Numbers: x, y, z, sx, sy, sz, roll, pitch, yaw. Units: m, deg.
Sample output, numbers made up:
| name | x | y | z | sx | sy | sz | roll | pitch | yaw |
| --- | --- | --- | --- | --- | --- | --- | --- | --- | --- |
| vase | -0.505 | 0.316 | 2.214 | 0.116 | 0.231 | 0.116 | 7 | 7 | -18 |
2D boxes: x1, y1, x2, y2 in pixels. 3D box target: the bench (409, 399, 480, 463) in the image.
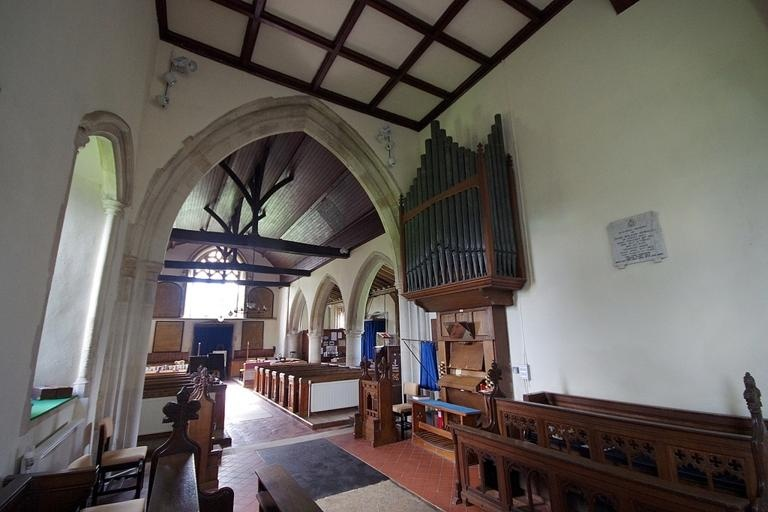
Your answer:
| name | x | y | z | sx | sy | sz | roll | pitch | yaw |
| --- | --- | --- | --- | --- | --- | --- | --- | --- | --- |
| bench | 0.792 | 2.364 | 6.291 | 0.634 | 0.645 | 1.457 | 0 | -4 | -22 |

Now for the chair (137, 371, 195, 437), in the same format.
| name | x | y | z | sx | sy | sz | roll | pitch | yaw |
| --- | --- | --- | --- | --- | --- | --- | --- | --- | --- |
| chair | -3.362 | 2.279 | 6.766 | 0.641 | 0.775 | 0.813 | -2 | -4 | -4 |

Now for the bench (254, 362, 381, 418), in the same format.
| name | x | y | z | sx | sy | sz | roll | pitch | yaw |
| --- | --- | --- | --- | --- | --- | --- | --- | --- | --- |
| bench | -1.753 | 2.807 | 9.469 | 1.232 | 0.911 | 2.932 | 0 | -4 | -33 |

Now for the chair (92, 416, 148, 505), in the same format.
| name | x | y | z | sx | sy | sz | roll | pitch | yaw |
| --- | --- | --- | --- | --- | --- | --- | --- | --- | --- |
| chair | -3.039 | 2.308 | 5.100 | 0.487 | 0.904 | 0.965 | 0 | -4 | -29 |

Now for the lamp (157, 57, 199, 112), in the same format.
| name | x | y | z | sx | sy | sz | roll | pitch | yaw |
| --- | --- | --- | --- | --- | --- | --- | --- | --- | --- |
| lamp | -2.949 | -2.455 | 6.292 | 0.469 | 0.783 | 0.354 | -8 | 7 | -19 |

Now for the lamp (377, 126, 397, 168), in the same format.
| name | x | y | z | sx | sy | sz | roll | pitch | yaw |
| --- | --- | --- | --- | --- | --- | --- | --- | --- | --- |
| lamp | 0.052 | -1.924 | 7.721 | 0.341 | 0.747 | 0.149 | 0 | -4 | -30 |
